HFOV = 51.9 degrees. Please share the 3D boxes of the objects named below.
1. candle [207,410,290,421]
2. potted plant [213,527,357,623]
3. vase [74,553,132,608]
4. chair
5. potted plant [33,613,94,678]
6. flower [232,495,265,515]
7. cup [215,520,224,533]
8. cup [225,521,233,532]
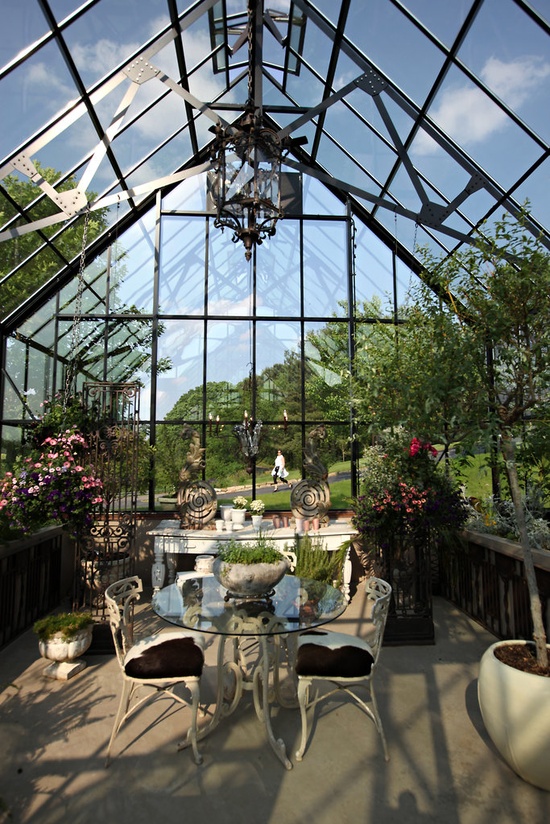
[{"bbox_3d":[-0.357,0.043,7.563,1.075,0.150,0.177,0,-4,1],"label":"candle"},{"bbox_3d":[0.118,1.098,3.736,0.957,0.678,1.187,-3,-15,17],"label":"potted plant"},{"bbox_3d":[-1.700,1.652,5.612,0.623,0.519,0.658,-7,-12,19],"label":"vase"},{"bbox_3d":[-0.101,1.412,3.516,1.381,0.793,1.390,-3,-4,29],"label":"chair"},{"bbox_3d":[-1.591,1.780,4.376,0.367,0.419,0.400,0,-7,-1],"label":"potted plant"},{"bbox_3d":[-0.314,1.081,6.534,0.304,0.197,0.313,1,-2,7],"label":"flower"},{"bbox_3d":[-0.607,1.244,6.181,0.089,0.098,0.092,-1,-7,0],"label":"cup"},{"bbox_3d":[-0.509,1.265,6.204,0.070,0.080,0.071,-1,-4,0],"label":"cup"}]
